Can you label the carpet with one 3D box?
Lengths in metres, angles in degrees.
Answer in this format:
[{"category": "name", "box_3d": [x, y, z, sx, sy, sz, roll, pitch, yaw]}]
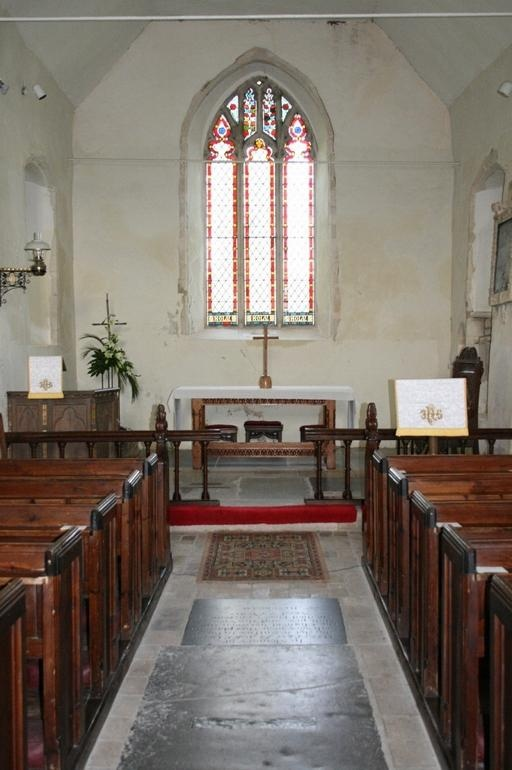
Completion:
[{"category": "carpet", "box_3d": [0.047, 1.124, 4.468, 0.765, 0.031, 1.085, 1, 2, -1]}]
